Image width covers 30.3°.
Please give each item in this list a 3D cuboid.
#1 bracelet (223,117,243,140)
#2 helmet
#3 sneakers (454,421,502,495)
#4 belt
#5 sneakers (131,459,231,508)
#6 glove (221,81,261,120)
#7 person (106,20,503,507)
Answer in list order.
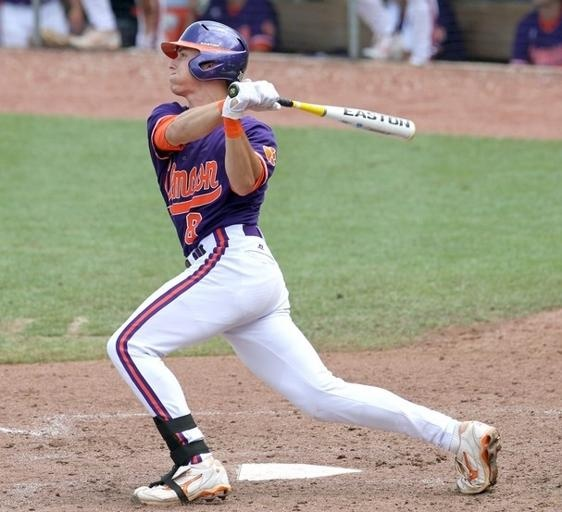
[{"bbox_3d":[-0.167,-0.452,3.663,0.063,0.073,0.042,-2,21,-1],"label":"bracelet"},{"bbox_3d":[-0.247,-0.781,3.937,0.351,0.177,0.220,9,-10,1],"label":"helmet"},{"bbox_3d":[0.735,0.750,3.869,0.171,0.297,0.120,-7,14,3],"label":"sneakers"},{"bbox_3d":[-0.215,-0.040,3.872,0.232,0.144,0.077,-12,38,0],"label":"belt"},{"bbox_3d":[-0.349,0.841,3.836,0.432,0.166,0.139,-4,-7,-3],"label":"sneakers"},{"bbox_3d":[-0.137,-0.565,3.723,0.115,0.120,0.224,7,20,22],"label":"glove"},{"bbox_3d":[0.007,0.047,3.905,1.239,1.775,0.900,1,21,8],"label":"person"}]
